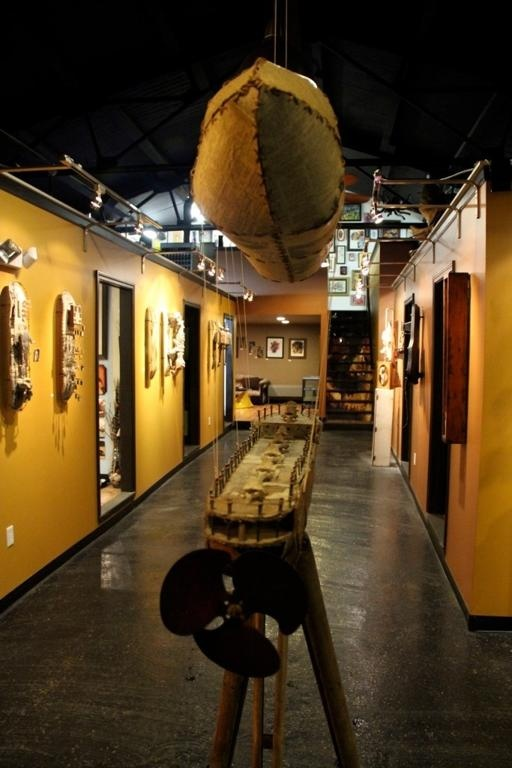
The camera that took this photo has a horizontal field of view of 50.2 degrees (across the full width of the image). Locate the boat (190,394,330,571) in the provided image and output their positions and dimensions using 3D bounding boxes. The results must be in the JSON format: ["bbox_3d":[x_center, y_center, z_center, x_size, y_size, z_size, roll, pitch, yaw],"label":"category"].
[{"bbox_3d":[0.045,0.226,1.804,0.211,0.215,1.134,4,8,5],"label":"boat"}]

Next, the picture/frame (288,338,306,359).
[{"bbox_3d":[1.208,-1.024,15.866,0.506,0.673,0.045,2,5,9],"label":"picture/frame"}]

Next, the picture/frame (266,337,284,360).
[{"bbox_3d":[0.574,-1.036,15.963,0.546,0.759,0.051,4,8,7],"label":"picture/frame"}]

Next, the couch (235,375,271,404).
[{"bbox_3d":[-0.113,0.159,14.806,0.932,0.786,0.691,-1,0,11],"label":"couch"}]

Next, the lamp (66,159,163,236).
[{"bbox_3d":[-1.811,-2.411,6.943,0.597,0.441,3.706,-31,26,-14],"label":"lamp"}]
